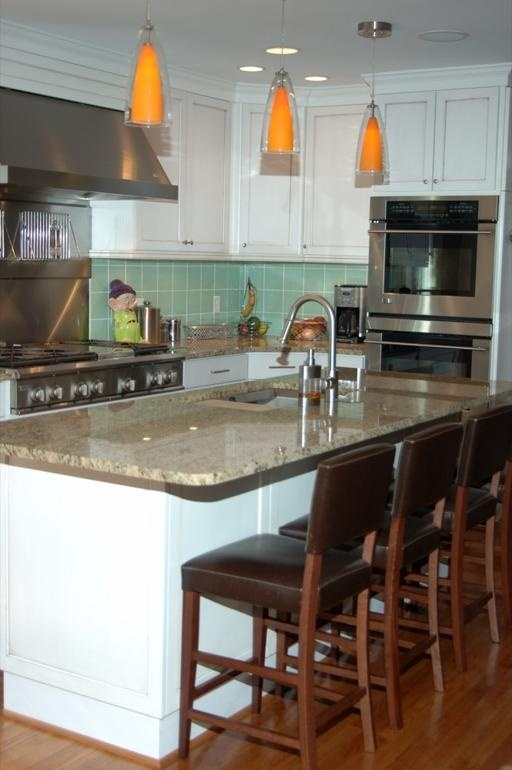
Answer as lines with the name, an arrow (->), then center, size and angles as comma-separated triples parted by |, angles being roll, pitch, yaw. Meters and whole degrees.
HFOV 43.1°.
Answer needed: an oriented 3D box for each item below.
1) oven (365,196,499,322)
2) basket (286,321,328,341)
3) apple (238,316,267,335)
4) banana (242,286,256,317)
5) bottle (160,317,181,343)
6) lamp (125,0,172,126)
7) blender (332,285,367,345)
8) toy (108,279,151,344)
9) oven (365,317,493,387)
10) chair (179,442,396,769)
oven -> 1.263, -0.839, 4.401 | 0.879, 0.857, 0.629 | 7, 16, 31
basket -> 0.353, -0.379, 4.563 | 0.315, 0.137, 0.344 | -2, 2, -10
apple -> -0.018, -0.473, 5.298 | 0.248, 0.156, 0.215 | 1, 9, -11
banana -> -0.053, -0.702, 5.466 | 0.099, 0.266, 0.153 | 2, 8, -1
bottle -> -0.641, -0.386, 4.624 | 0.157, 0.169, 0.162 | 2, 6, 25
lamp -> -0.249, -0.719, 1.498 | 0.107, 0.213, 0.071 | 2, 8, -4
blender -> 0.679, -0.541, 4.758 | 0.258, 0.409, 0.264 | 5, 19, 16
toy -> -0.856, -0.493, 4.308 | 0.232, 0.403, 0.236 | 0, 9, -12
oven -> 1.149, -0.248, 4.293 | 0.716, 0.707, 0.482 | 3, 2, 37
chair -> 0.092, 0.542, 1.620 | 0.441, 0.876, 0.573 | 5, 9, 21
